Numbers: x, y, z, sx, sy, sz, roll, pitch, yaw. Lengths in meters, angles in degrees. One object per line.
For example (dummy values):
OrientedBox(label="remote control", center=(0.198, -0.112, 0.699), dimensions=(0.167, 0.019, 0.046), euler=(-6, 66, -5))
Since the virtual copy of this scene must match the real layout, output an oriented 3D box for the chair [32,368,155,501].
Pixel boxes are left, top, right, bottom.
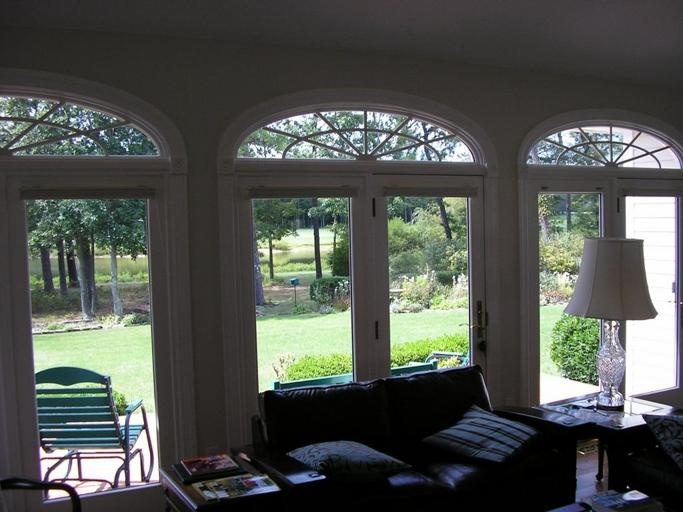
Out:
OrientedBox(label="chair", center=(-1.889, 1.315, 4.558), dimensions=(0.873, 0.957, 0.869), euler=(-2, -5, -17))
